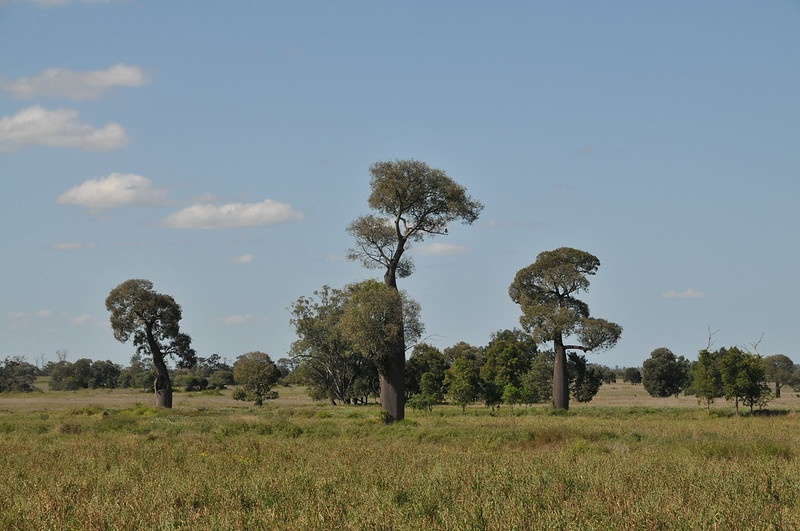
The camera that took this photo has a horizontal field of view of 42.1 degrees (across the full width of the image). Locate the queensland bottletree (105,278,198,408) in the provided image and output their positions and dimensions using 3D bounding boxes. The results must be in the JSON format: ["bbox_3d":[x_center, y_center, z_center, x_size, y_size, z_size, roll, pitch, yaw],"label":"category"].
[{"bbox_3d":[-23.921,7.483,99.954,6.917,12.235,3.712,-2,-2,-23],"label":"queensland bottletree"}]
